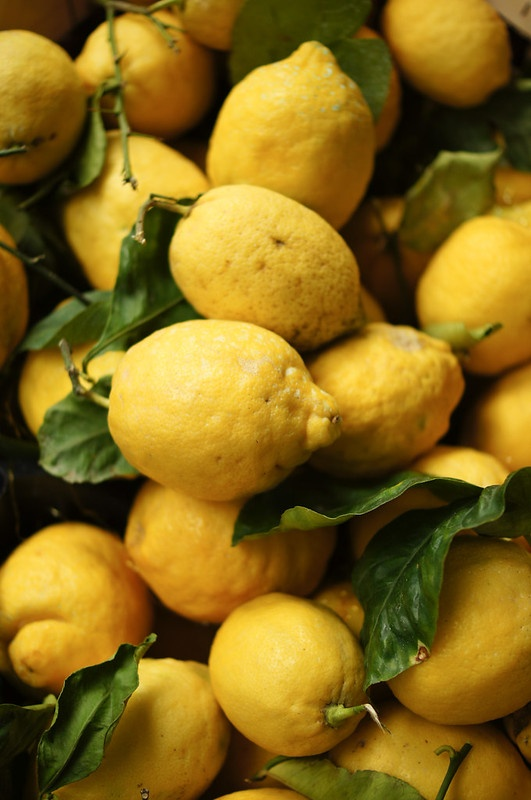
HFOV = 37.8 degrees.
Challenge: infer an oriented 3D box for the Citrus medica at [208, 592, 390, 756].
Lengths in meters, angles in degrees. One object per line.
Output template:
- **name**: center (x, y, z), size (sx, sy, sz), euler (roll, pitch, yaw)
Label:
- **Citrus medica**: center (0.018, 0.214, 0.606), size (0.121, 0.135, 0.118), euler (-8, 95, -29)
